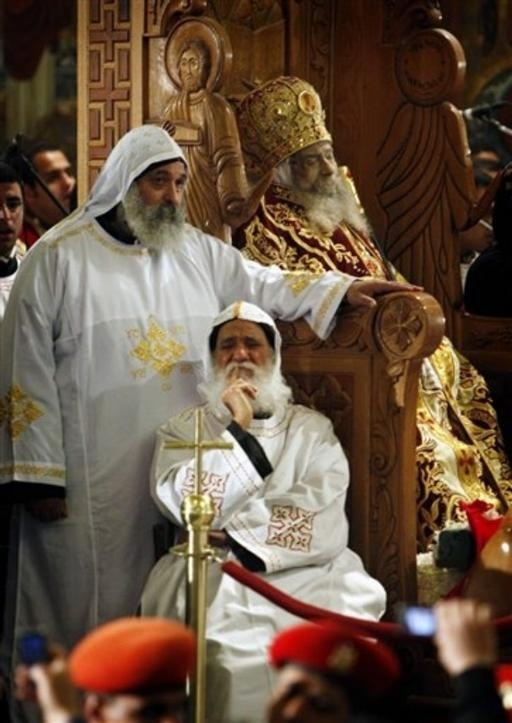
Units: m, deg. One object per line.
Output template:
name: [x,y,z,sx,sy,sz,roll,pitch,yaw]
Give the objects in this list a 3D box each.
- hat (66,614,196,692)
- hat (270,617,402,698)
hat: [-0.138,0.343,1.198,0.113,0.086,0.120,1,9,36]
hat: [0.096,0.341,1.224,0.120,0.031,0.097,8,-11,19]
